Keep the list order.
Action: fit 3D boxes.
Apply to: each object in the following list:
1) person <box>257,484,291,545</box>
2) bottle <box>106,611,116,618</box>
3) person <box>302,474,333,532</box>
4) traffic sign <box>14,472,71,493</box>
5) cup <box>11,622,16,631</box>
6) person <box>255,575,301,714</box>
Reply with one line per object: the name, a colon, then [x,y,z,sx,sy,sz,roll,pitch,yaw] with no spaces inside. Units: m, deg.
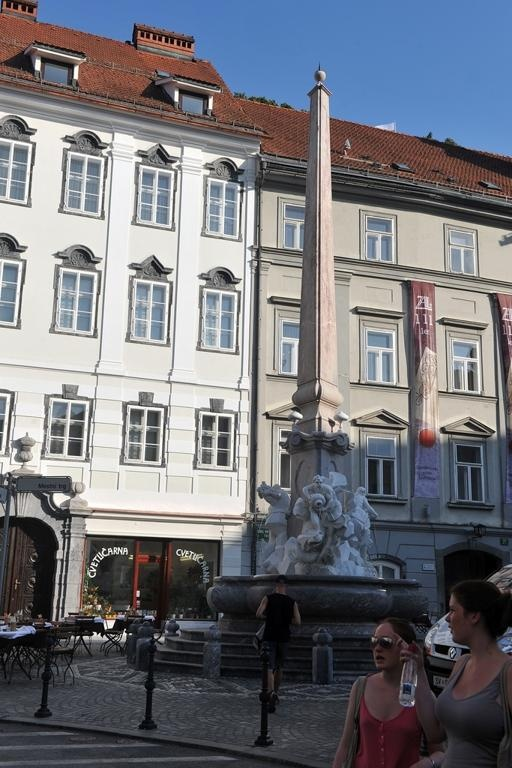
person: [0.319,2.348,16.188,0.574,1.087,0.752,1,-12,1]
bottle: [-4.006,6.294,23.955,0.199,0.118,0.228,-1,-4,36]
person: [1.036,1.966,14.713,0.405,0.837,0.515,5,-13,-18]
traffic sign: [-3.626,1.646,14.698,0.766,0.297,1.128,6,-13,-24]
cup: [-3.581,3.548,12.809,0.079,0.142,0.079,2,-23,1]
person: [0.228,3.075,10.129,0.464,1.250,0.778,-2,-13,14]
